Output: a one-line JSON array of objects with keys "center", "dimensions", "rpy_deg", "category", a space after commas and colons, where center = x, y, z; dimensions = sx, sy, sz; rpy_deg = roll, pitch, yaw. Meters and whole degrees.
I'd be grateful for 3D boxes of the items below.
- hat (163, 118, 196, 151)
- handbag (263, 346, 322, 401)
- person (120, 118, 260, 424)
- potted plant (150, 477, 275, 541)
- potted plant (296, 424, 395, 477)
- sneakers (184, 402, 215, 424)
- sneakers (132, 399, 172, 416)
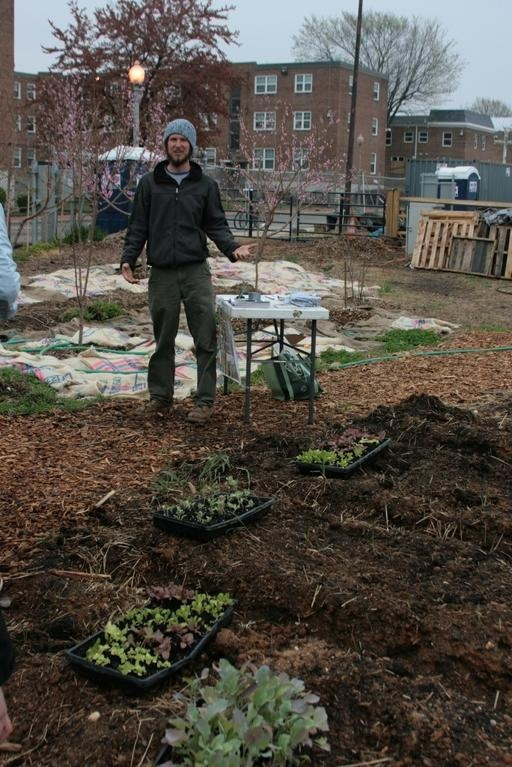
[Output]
[{"center": [-0.572, -1.868, 4.723], "dimensions": [0.237, 0.217, 0.244], "rpy_deg": [1, 14, -3], "category": "hat"}, {"center": [0.342, -0.081, 5.733], "dimensions": [0.542, 0.501, 0.375], "rpy_deg": [-13, 0, -14], "category": "handbag"}, {"center": [-0.577, -0.879, 4.822], "dimensions": [0.889, 2.225, 0.628], "rpy_deg": [0, 12, -5], "category": "person"}, {"center": [-0.173, 0.534, 2.665], "dimensions": [0.339, 0.120, 0.473], "rpy_deg": [9, 14, 32], "category": "potted plant"}, {"center": [0.465, 0.381, 3.374], "dimensions": [0.358, 0.148, 0.538], "rpy_deg": [10, 15, 37], "category": "potted plant"}, {"center": [-0.428, 0.226, 4.809], "dimensions": [0.153, 0.122, 0.368], "rpy_deg": [3, 12, 6], "category": "sneakers"}, {"center": [-0.787, 0.196, 4.928], "dimensions": [0.230, 0.095, 0.124], "rpy_deg": [5, 0, -22], "category": "sneakers"}]
